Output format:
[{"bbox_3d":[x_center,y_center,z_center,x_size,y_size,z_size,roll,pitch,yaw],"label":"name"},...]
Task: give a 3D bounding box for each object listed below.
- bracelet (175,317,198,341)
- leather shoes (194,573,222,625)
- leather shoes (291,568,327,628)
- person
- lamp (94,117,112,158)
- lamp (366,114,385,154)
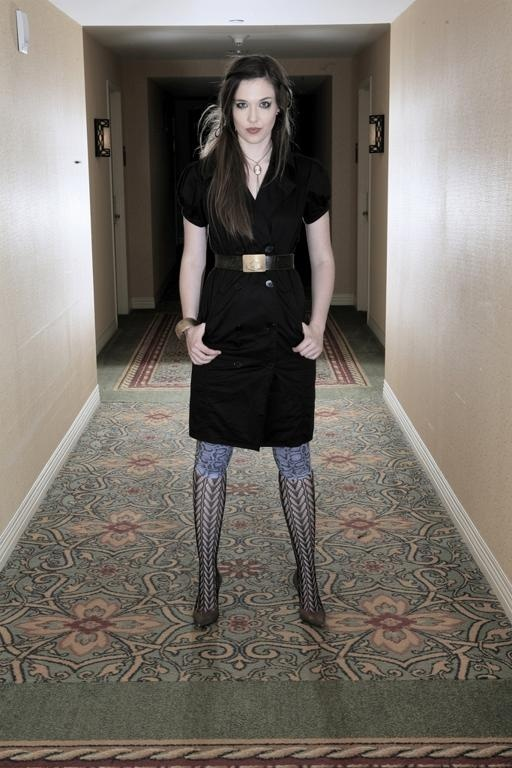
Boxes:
[{"bbox_3d":[-0.194,-0.152,1.540,0.028,0.075,0.047,1,54,-26],"label":"bracelet"},{"bbox_3d":[-0.143,0.675,1.759,0.061,0.068,0.178,1,21,7],"label":"leather shoes"},{"bbox_3d":[0.165,0.678,1.772,0.066,0.074,0.192,-3,22,-14],"label":"leather shoes"},{"bbox_3d":[-0.008,-0.039,1.549,0.434,1.594,0.370,0,3,7],"label":"person"},{"bbox_3d":[-1.600,-2.542,5.706,0.137,0.370,0.136,0,3,-4],"label":"lamp"},{"bbox_3d":[1.249,-2.613,5.740,0.152,0.423,0.251,1,4,10],"label":"lamp"}]
